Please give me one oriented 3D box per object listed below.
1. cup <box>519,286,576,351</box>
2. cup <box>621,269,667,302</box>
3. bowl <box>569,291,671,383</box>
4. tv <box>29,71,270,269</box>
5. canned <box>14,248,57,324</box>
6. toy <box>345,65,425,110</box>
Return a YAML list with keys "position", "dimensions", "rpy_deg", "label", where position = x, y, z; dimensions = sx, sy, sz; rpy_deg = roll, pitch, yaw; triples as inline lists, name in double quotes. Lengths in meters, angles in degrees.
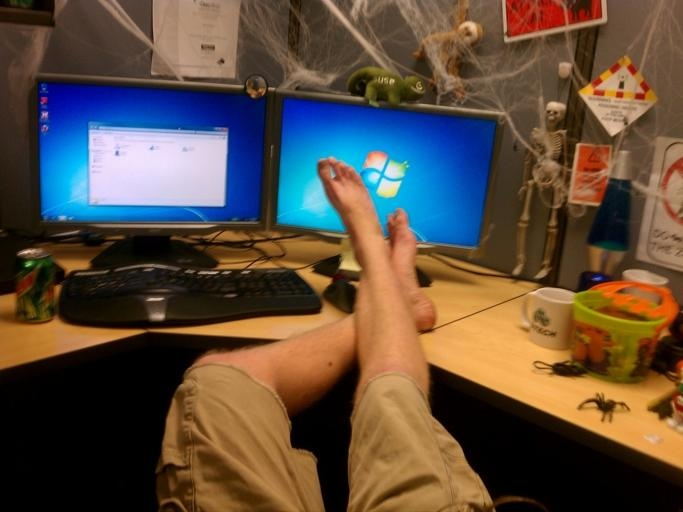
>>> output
- position: [0.420, 0.128, 1.165]
  dimensions: [0.130, 0.119, 0.086]
  rpy_deg: [11, 18, 39]
  label: "cup"
- position: [0.654, 0.053, 1.168]
  dimensions: [0.062, 0.047, 0.064]
  rpy_deg: [5, 17, -1]
  label: "cup"
- position: [0.514, 0.152, 1.069]
  dimensions: [0.147, 0.122, 0.162]
  rpy_deg: [0, 20, -34]
  label: "bowl"
- position: [-0.472, -0.212, 1.322]
  dimensions: [0.475, 0.383, 0.179]
  rpy_deg: [0, 12, -15]
  label: "tv"
- position: [-0.601, 0.057, 1.067]
  dimensions: [0.078, 0.136, 0.063]
  rpy_deg: [-10, 18, -37]
  label: "canned"
- position: [0.110, -0.421, 1.356]
  dimensions: [0.163, 0.080, 0.112]
  rpy_deg: [1, 22, 3]
  label: "toy"
